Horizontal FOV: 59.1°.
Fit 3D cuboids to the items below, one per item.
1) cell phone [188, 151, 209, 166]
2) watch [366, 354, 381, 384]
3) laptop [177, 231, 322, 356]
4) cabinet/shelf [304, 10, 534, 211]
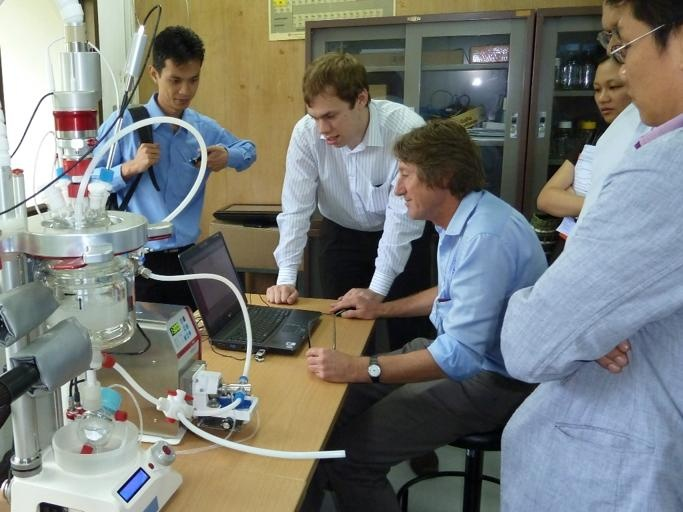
[{"bbox_3d":[-0.692,-0.453,2.867,0.053,0.069,0.224,-4,13,-17],"label":"cell phone"},{"bbox_3d":[0.103,0.355,1.897,0.043,0.076,0.069,1,-3,0],"label":"watch"},{"bbox_3d":[-0.303,0.169,2.149,0.405,0.354,0.481,1,13,11],"label":"laptop"},{"bbox_3d":[0.417,-0.730,2.992,1.100,1.114,0.419,4,17,10],"label":"cabinet/shelf"}]
